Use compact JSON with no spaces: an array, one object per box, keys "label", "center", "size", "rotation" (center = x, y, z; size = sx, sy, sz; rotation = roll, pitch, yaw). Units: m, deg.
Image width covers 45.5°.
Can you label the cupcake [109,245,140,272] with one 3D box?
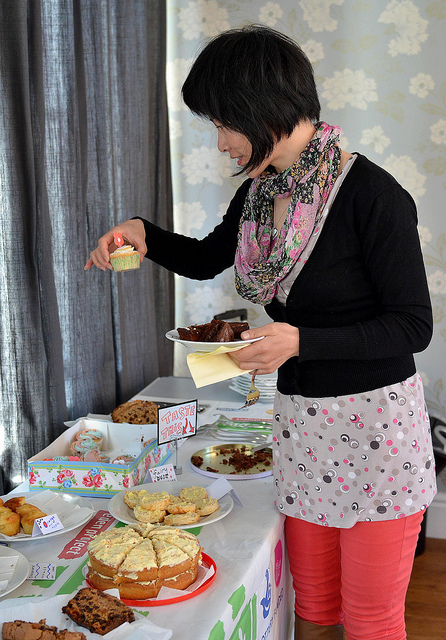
[{"label":"cupcake","center":[-0.223,-0.137,1.237],"size":[0.064,0.050,0.064],"rotation":[-14,-2,34]}]

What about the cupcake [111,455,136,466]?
[{"label":"cupcake","center":[-0.242,0.343,1.293],"size":[0.050,0.016,0.054],"rotation":[0,-1,4]}]

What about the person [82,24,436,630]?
[{"label":"person","center":[0.107,0.134,1.121],"size":[0.367,1.348,0.587],"rotation":[-10,15,-30]}]

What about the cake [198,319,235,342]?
[{"label":"cake","center":[-0.015,0.017,1.034],"size":[0.043,0.016,0.054],"rotation":[-4,17,4]}]

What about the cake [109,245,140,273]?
[{"label":"cake","center":[-0.224,-0.136,1.226],"size":[0.062,0.050,0.064],"rotation":[-10,1,9]}]

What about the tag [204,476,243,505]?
[{"label":"tag","center":[-0.008,0.357,1.126],"size":[0.059,0.016,0.061],"rotation":[-18,30,-28]}]

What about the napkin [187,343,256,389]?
[{"label":"napkin","center":[-0.002,0.074,0.906],"size":[0.117,0.074,0.081],"rotation":[-5,13,-14]}]

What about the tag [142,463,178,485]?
[{"label":"tag","center":[-0.146,0.357,1.209],"size":[0.073,0.033,0.048],"rotation":[-5,13,-14]}]

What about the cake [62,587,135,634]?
[{"label":"cake","center":[-0.173,0.392,0.723],"size":[0.100,0.024,0.061],"rotation":[10,17,44]}]

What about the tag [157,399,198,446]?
[{"label":"tag","center":[-0.113,0.262,1.323],"size":[0.008,0.112,0.172],"rotation":[0,2,31]}]

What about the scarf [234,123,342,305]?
[{"label":"scarf","center":[0.109,-0.188,1.019],"size":[0.101,0.341,0.266],"rotation":[16,-14,-15]}]

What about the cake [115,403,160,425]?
[{"label":"cake","center":[-0.247,0.274,1.521],"size":[0.117,0.030,0.143],"rotation":[-3,12,-7]}]

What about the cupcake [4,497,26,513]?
[{"label":"cupcake","center":[-0.415,0.372,1.067],"size":[0.040,0.010,0.073],"rotation":[-7,13,-23]}]
